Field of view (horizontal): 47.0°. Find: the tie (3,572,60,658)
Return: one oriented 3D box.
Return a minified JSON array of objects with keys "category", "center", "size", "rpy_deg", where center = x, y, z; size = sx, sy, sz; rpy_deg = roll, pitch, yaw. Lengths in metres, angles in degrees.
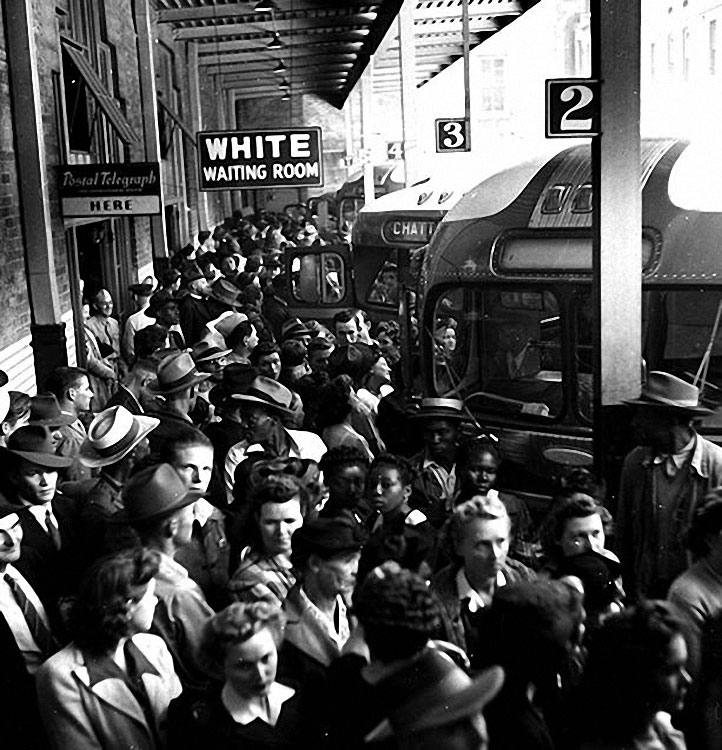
[{"category":"tie","center":[-1.287,0.930,3.231],"size":[0.174,0.336,0.110],"rpy_deg":[4,15,19]}]

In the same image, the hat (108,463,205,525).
[{"category":"hat","center":[-0.867,0.513,3.468],"size":[0.314,0.207,0.273],"rpy_deg":[6,15,22]}]

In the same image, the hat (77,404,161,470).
[{"category":"hat","center":[-1.406,0.325,4.633],"size":[0.364,0.170,0.453],"rpy_deg":[1,36,23]}]

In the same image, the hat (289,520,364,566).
[{"category":"hat","center":[-0.117,0.601,3.075],"size":[0.212,0.110,0.173],"rpy_deg":[-8,0,-24]}]

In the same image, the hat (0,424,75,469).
[{"category":"hat","center":[-1.573,0.303,4.048],"size":[0.285,0.120,0.251],"rpy_deg":[14,2,16]}]

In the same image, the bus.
[{"category":"bus","center":[1.438,-0.541,7.249],"size":[3.721,1.951,3.861],"rpy_deg":[-10,12,5]}]
